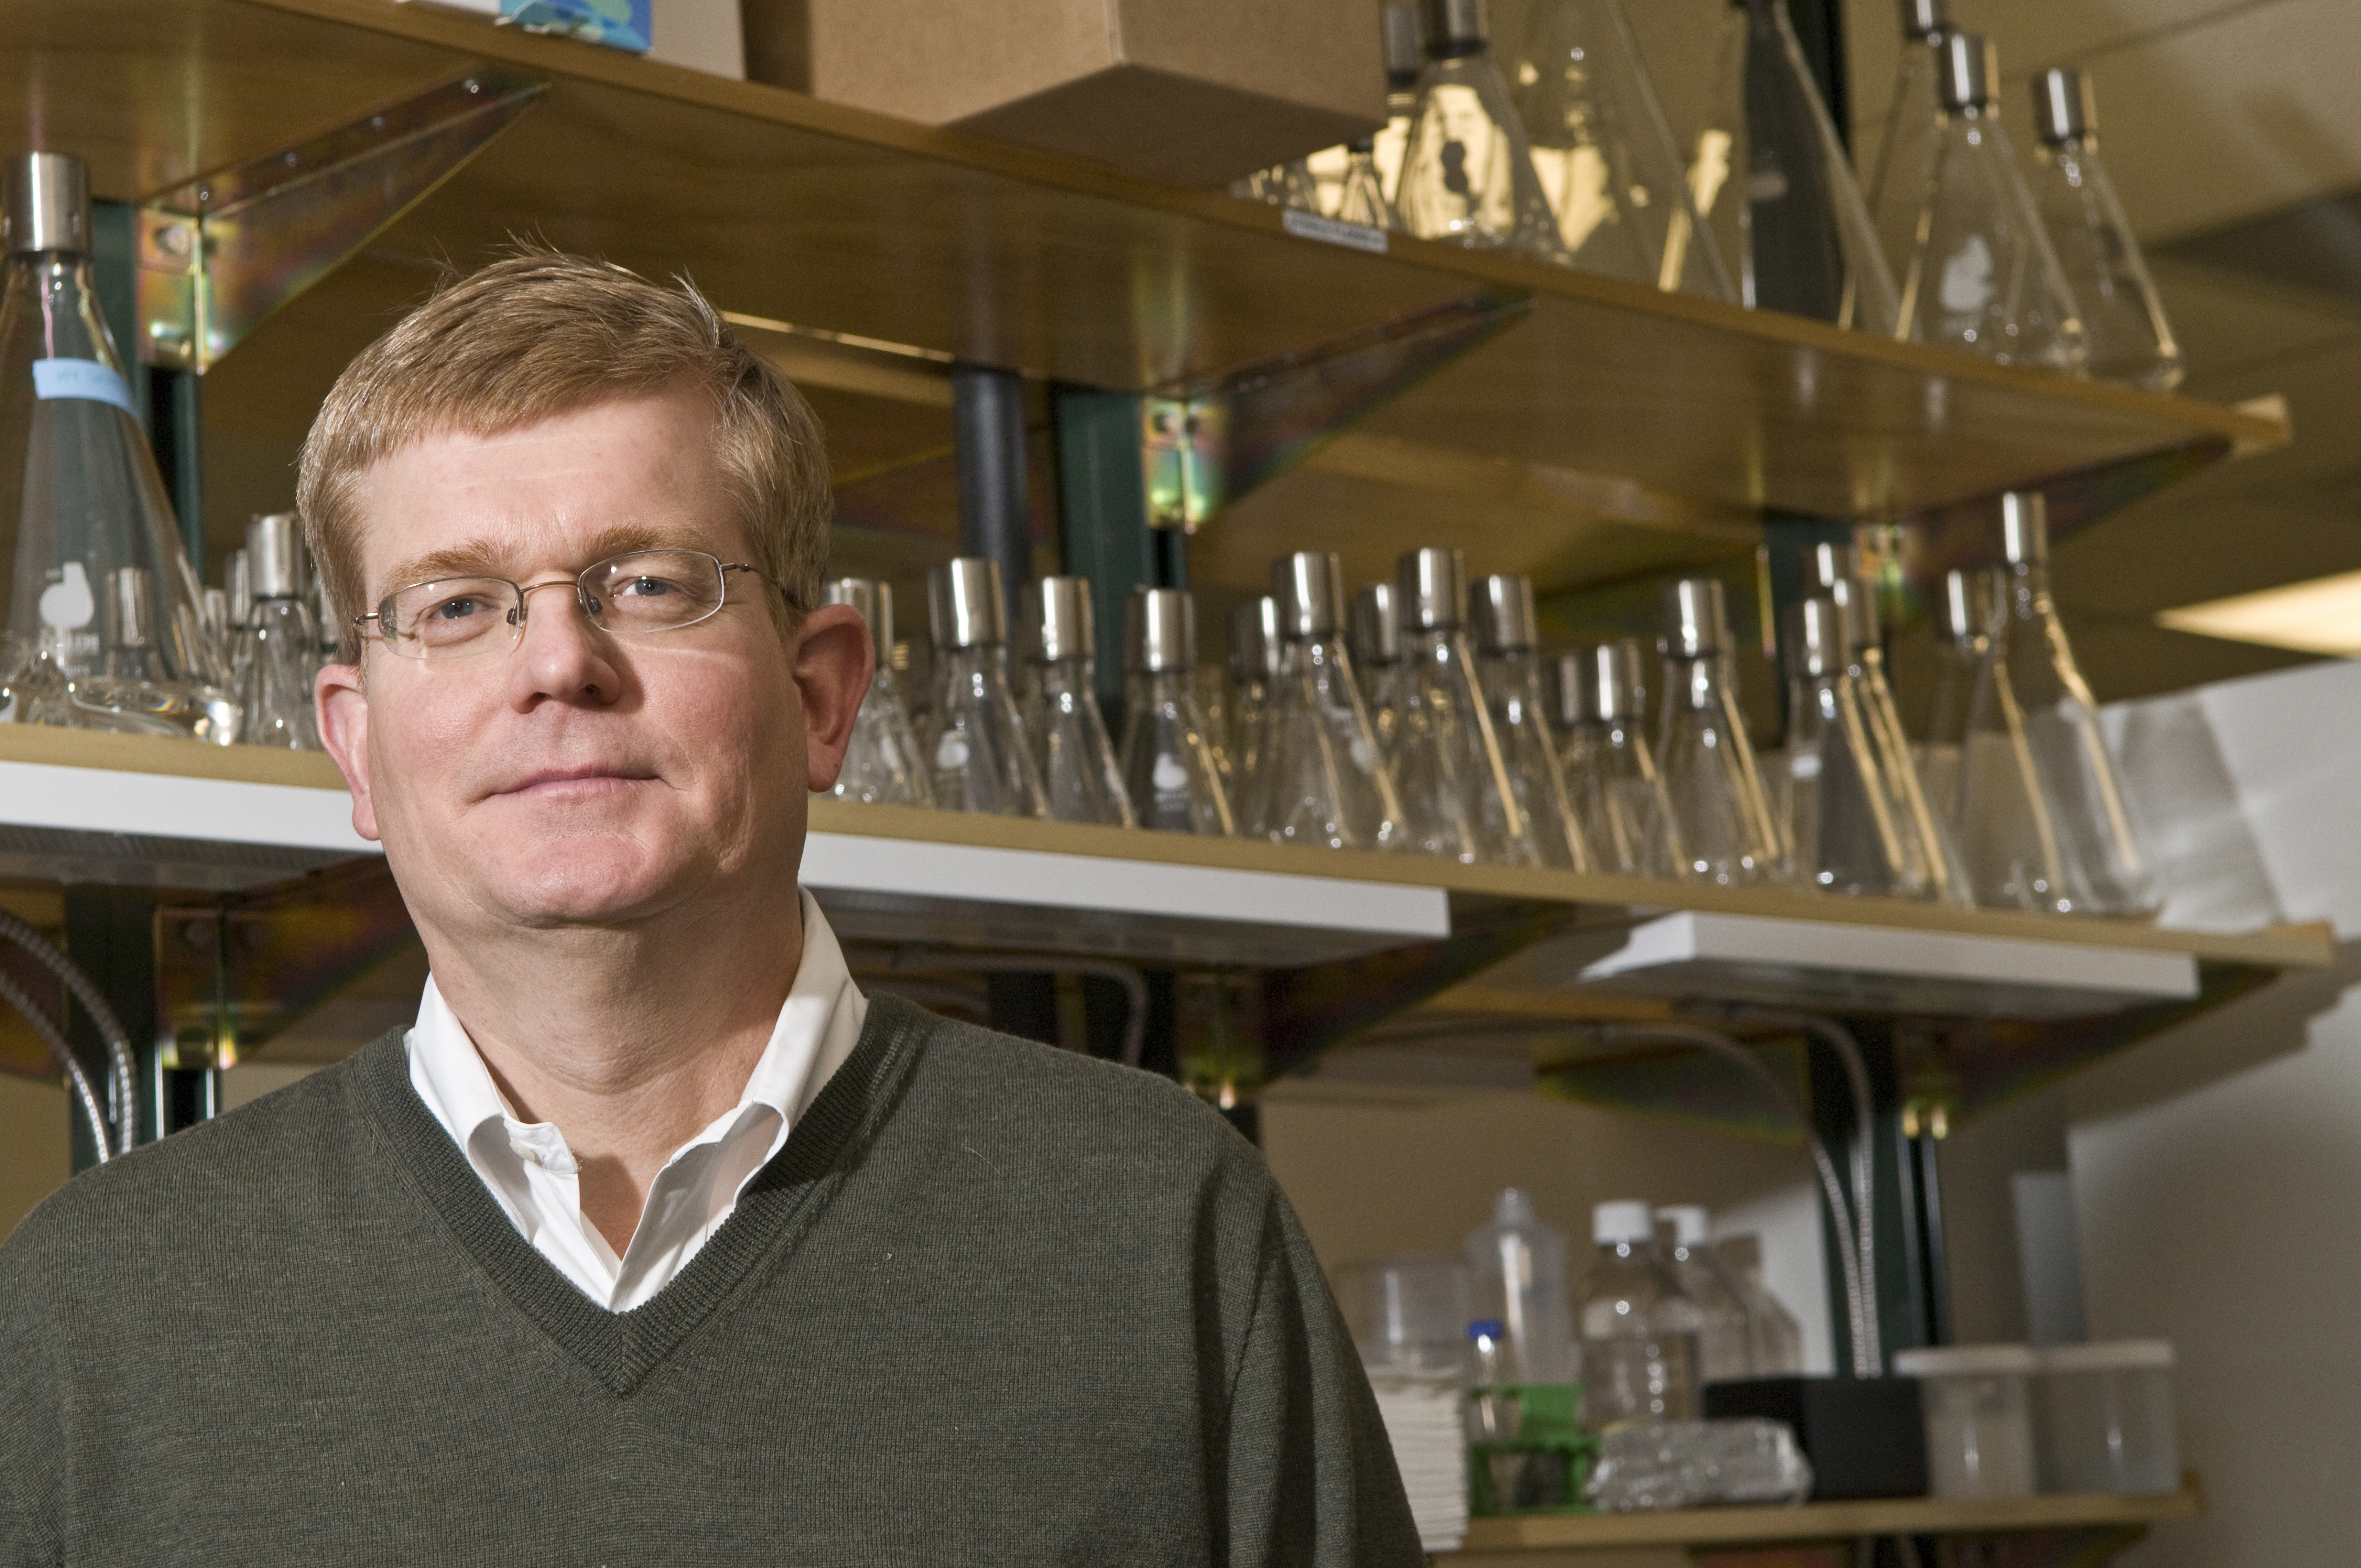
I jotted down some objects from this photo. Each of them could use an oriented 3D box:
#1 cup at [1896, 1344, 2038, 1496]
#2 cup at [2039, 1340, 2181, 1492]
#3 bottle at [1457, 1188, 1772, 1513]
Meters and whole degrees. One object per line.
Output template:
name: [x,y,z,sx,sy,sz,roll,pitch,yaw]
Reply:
cup: [0.716,0.566,2.656,0.121,0.179,0.119,0,-12,0]
cup: [0.833,0.564,2.655,0.103,0.128,0.076,2,-21,0]
bottle: [0.344,0.471,2.559,0.235,0.260,0.263,2,-10,-25]
